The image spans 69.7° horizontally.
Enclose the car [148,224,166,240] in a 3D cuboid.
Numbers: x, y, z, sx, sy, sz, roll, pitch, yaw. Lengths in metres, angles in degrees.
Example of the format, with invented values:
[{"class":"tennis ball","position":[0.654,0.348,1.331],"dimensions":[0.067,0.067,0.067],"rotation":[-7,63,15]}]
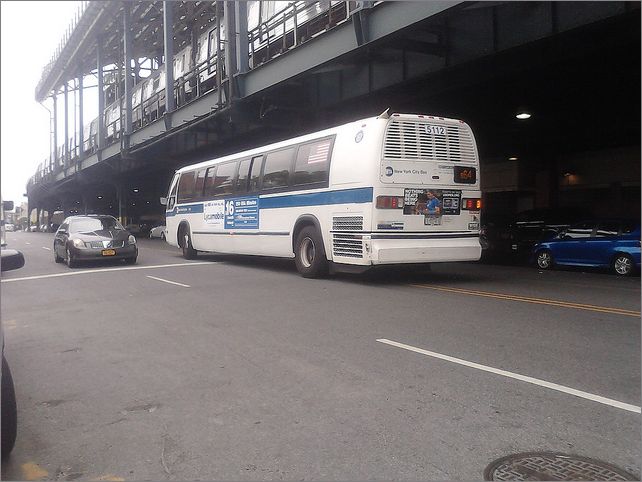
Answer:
[{"class":"car","position":[-14.672,-0.648,41.595],"dimensions":[1.514,1.281,3.503],"rotation":[0,5,-34]}]

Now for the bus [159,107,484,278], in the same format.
[{"class":"bus","position":[-1.529,-1.074,16.123],"dimensions":[4.051,4.431,13.724],"rotation":[3,-2,-36]}]

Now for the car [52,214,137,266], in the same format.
[{"class":"car","position":[-8.394,-0.032,17.141],"dimensions":[2.490,1.821,2.861],"rotation":[-3,4,-30]}]

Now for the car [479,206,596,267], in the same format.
[{"class":"car","position":[8.234,-0.177,18.819],"dimensions":[1.879,1.893,4.176],"rotation":[-1,1,-36]}]
